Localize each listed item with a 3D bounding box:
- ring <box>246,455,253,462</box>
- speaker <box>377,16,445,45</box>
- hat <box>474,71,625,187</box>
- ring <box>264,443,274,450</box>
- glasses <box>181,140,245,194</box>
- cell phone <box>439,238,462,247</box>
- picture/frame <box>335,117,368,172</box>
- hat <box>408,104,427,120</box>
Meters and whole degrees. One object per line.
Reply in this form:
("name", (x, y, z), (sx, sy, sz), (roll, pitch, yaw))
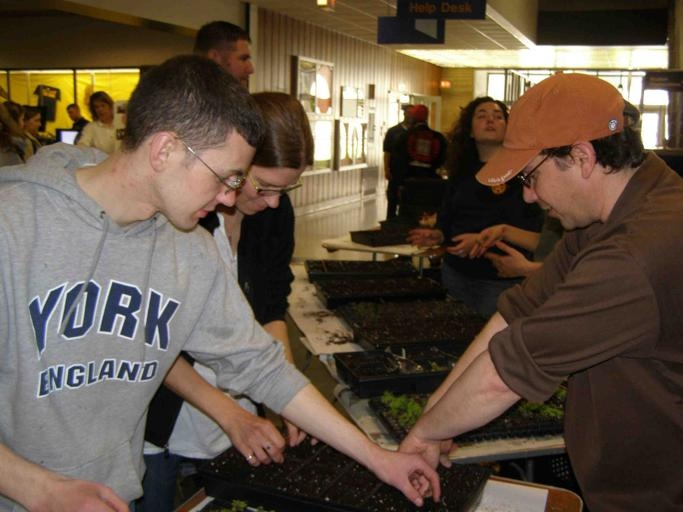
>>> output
("ring", (-0.281, 0.604, 1.689), (0.015, 0.024, 0.024), (-1, -10, 6))
("speaker", (0.771, -2.452, 6.072), (0.770, 0.293, 0.176), (-3, 11, -15))
("hat", (0.596, -0.391, 1.616), (0.482, 0.242, 0.301), (-15, 18, 5))
("ring", (-0.223, 0.571, 1.687), (0.019, 0.017, 0.006), (2, -12, -1))
("glasses", (-0.338, -0.225, 1.457), (0.031, 0.113, 0.110), (-43, -1, -3))
("cell phone", (0.721, -0.087, 3.678), (0.064, 0.055, 0.120), (18, 10, -21))
("picture/frame", (0.138, -1.994, 9.873), (0.064, 0.888, 1.560), (8, 16, 23))
("hat", (1.080, -2.052, 7.984), (0.283, 0.264, 0.226), (0, 15, 26))
